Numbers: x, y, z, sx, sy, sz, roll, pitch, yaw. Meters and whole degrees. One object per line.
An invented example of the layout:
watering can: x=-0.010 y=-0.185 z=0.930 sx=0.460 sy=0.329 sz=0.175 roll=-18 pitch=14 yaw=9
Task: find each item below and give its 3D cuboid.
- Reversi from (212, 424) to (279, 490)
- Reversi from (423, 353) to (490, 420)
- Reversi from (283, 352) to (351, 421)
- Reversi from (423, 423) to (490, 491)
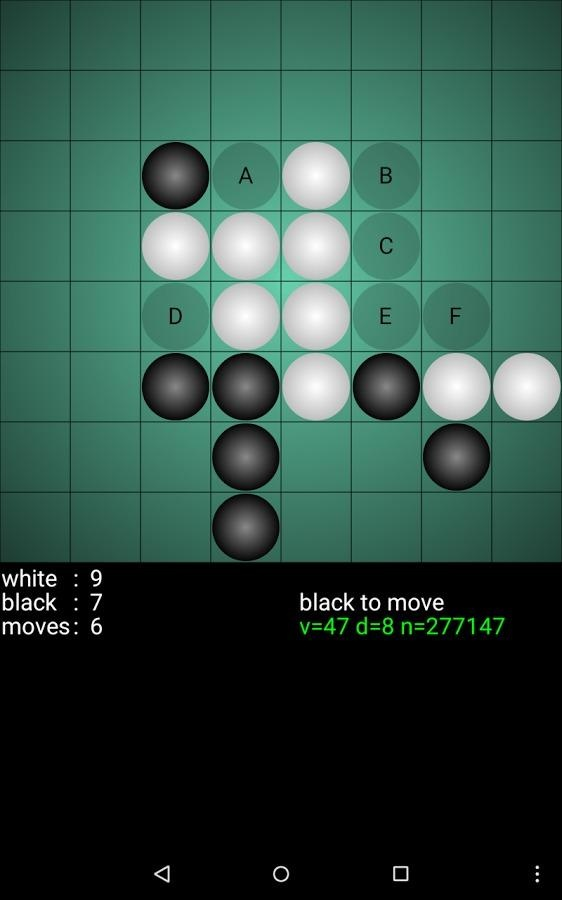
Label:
Reversi: x=-0.122 y=0.015 z=2.855 sx=0.213 sy=0.231 sz=0.123 roll=-1 pitch=3 yaw=-2
Reversi: x=0.624 y=-0.218 z=2.788 sx=0.215 sy=0.234 sz=0.125 roll=3 pitch=2 yaw=4
Reversi: x=0.131 y=-0.217 z=2.825 sx=0.214 sy=0.232 sz=0.130 roll=2 pitch=1 yaw=-3
Reversi: x=0.634 y=0.016 z=2.894 sx=0.216 sy=0.235 sz=0.126 roll=-1 pitch=4 yaw=11
